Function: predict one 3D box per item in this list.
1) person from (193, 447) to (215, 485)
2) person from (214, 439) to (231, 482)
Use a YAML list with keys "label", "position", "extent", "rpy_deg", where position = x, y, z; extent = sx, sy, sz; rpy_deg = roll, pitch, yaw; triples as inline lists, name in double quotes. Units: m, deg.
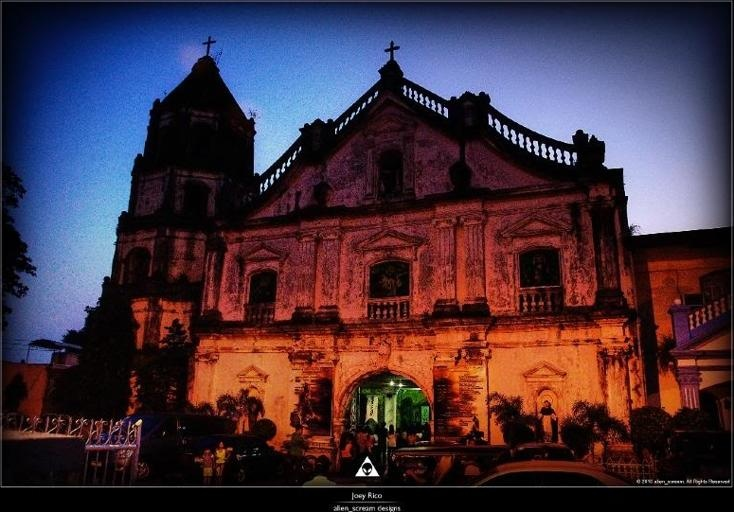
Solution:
- label: "person"
  position: [-4.588, 5.955, 16.662]
  extent: [0.548, 0.945, 0.510]
  rpy_deg: [4, -19, -7]
- label: "person"
  position: [-4.212, 5.955, 16.982]
  extent: [0.287, 1.135, 0.436]
  rpy_deg: [-3, -19, 11]
